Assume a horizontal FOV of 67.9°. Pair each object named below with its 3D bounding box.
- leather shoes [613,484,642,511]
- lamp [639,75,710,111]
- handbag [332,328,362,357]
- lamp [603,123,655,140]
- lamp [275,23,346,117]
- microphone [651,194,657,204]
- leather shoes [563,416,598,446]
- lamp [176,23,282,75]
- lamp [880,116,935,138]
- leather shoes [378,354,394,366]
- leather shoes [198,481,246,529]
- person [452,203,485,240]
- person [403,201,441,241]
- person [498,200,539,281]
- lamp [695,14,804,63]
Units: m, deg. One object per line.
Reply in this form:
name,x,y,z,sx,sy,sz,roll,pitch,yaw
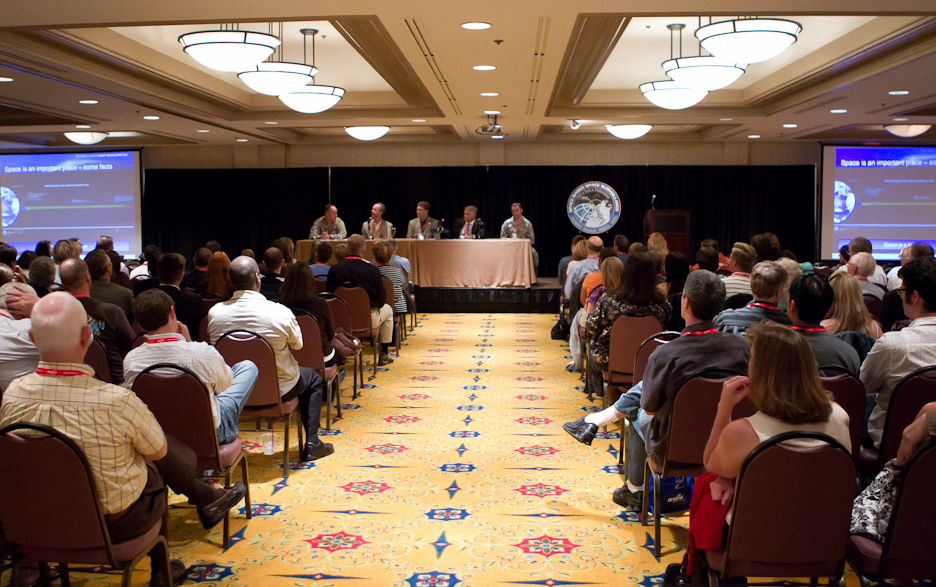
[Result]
leather shoes,1.327,1.695,5.777,0.110,0.138,0.291,3,2,-29
lamp,2.919,-2.766,9.710,0.744,0.240,0.739,1,-1,-12
handbag,-1.390,0.553,7.735,0.297,0.119,0.300,31,6,10
lamp,3.251,-3.266,13.953,0.677,0.217,0.685,3,5,30
lamp,-2.204,-3.022,9.615,0.995,0.988,0.985,-1,3,-16
microphone,4.499,-2.298,16.730,0.131,0.196,0.055,-4,14,-15
leather shoes,0.923,1.136,5.649,0.242,0.291,0.295,3,13,14
lamp,-2.794,-2.663,7.956,1.163,0.351,1.172,-8,7,1
lamp,8.844,-3.328,13.942,0.772,0.310,3.186,7,14,29
leather shoes,-1.192,0.952,9.903,0.090,0.099,0.248,1,2,13
leather shoes,-1.776,1.481,5.062,0.173,0.220,0.515,-6,15,15
person,-0.004,-1.508,14.762,0.568,0.664,0.958,-1,13,-6
person,-0.984,-1.426,14.734,0.727,0.946,0.540,-1,1,6
person,1.300,-1.091,14.702,1.010,1.569,0.968,-5,13,-22
lamp,2.963,-2.708,7.372,1.023,0.405,0.476,4,13,18
